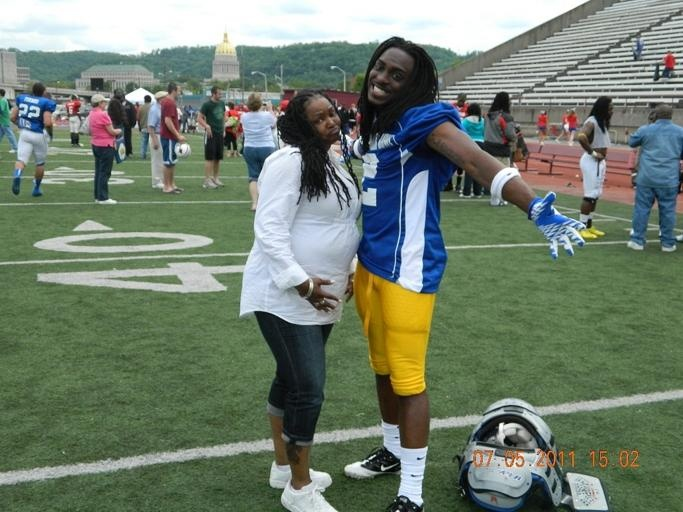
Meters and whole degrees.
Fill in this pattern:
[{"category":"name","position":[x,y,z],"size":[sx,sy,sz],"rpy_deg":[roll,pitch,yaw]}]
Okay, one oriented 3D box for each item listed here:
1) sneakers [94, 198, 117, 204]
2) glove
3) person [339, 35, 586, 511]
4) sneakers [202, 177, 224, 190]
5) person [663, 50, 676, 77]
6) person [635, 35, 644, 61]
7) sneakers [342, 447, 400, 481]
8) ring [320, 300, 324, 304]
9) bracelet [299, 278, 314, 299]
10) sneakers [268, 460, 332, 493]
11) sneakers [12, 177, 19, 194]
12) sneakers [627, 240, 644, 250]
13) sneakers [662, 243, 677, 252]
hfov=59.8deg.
[{"category":"sneakers","position":[-4.565,-1.015,11.523],"size":[0.377,0.153,0.158],"rpy_deg":[-3,12,-14]},{"category":"glove","position":[0.998,-0.091,2.770],"size":[0.109,0.330,0.293],"rpy_deg":[-40,-1,23]},{"category":"person","position":[0.423,0.113,3.153],"size":[0.617,2.481,1.074],"rpy_deg":[-7,14,-29]},{"category":"sneakers","position":[-3.179,-1.709,14.304],"size":[0.470,0.197,0.303],"rpy_deg":[2,6,40]},{"category":"person","position":[16.490,-9.540,29.925],"size":[0.538,1.346,1.733],"rpy_deg":[6,13,28]},{"category":"person","position":[16.875,-11.653,33.761],"size":[0.476,1.311,1.867],"rpy_deg":[5,13,25]},{"category":"sneakers","position":[0.200,1.220,3.509],"size":[0.393,0.187,0.140],"rpy_deg":[1,-3,-11]},{"category":"ring","position":[-0.099,0.243,3.041],"size":[0.014,0.015,0.015],"rpy_deg":[-1,-1,-18]},{"category":"bracelet","position":[-0.162,0.165,3.005],"size":[0.032,0.070,0.084],"rpy_deg":[24,-47,-37]},{"category":"sneakers","position":[-0.210,1.243,3.403],"size":[0.398,0.174,0.141],"rpy_deg":[2,4,-3]},{"category":"sneakers","position":[-6.444,-1.364,11.789],"size":[0.133,0.384,0.161],"rpy_deg":[6,12,-8]},{"category":"sneakers","position":[4.380,-0.149,8.859],"size":[0.220,0.135,0.259],"rpy_deg":[5,12,25]},{"category":"sneakers","position":[4.876,-0.098,8.867],"size":[0.108,0.128,0.304],"rpy_deg":[5,10,32]}]
